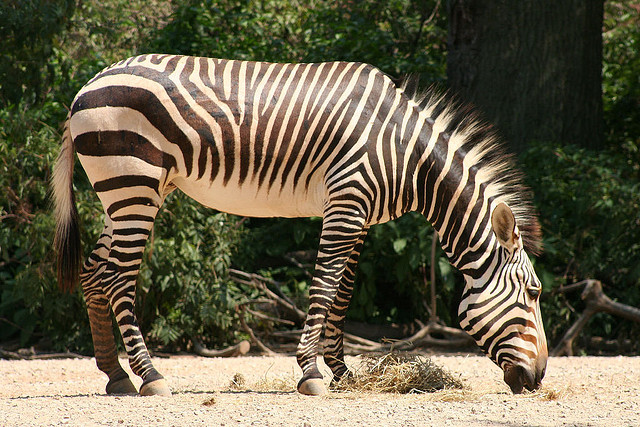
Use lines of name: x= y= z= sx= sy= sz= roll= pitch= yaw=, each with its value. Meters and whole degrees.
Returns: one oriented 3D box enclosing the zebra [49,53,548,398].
zebra: x=-0.248 y=0.318 z=13.190 sx=5.875 sy=4.124 sz=1.534 roll=3 pitch=-8 yaw=-8
